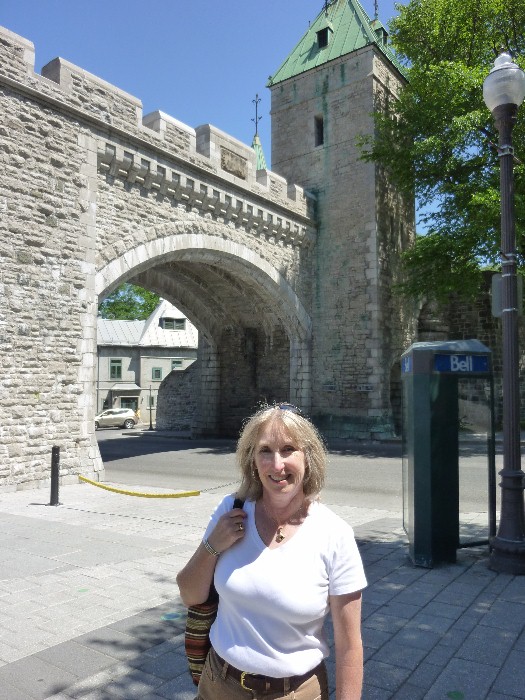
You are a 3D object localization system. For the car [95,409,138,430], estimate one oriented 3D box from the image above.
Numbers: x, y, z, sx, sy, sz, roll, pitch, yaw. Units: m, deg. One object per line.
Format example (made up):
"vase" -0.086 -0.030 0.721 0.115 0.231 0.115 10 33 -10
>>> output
"car" -7.009 3.352 35.172 0.833 0.924 2.257 1 4 40

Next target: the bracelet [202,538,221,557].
"bracelet" -0.181 0.693 2.562 0.023 0.062 0.061 -41 17 -19
